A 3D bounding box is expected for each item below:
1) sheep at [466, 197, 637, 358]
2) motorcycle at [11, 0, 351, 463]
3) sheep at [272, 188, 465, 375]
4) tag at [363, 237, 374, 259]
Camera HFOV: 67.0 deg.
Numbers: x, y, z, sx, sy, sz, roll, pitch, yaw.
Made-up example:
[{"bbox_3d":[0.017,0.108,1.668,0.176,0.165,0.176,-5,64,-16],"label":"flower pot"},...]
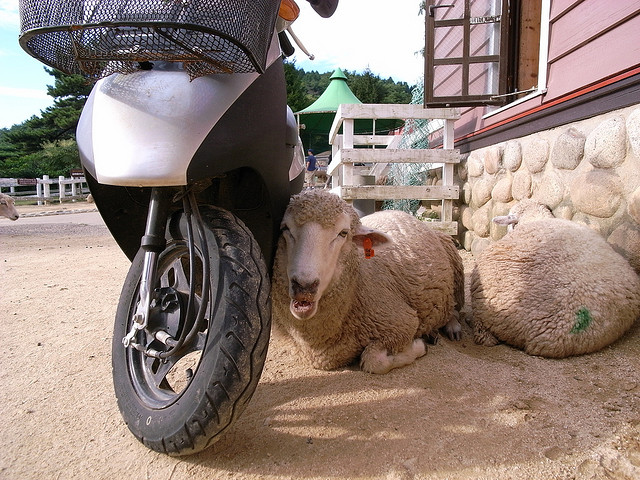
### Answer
[{"bbox_3d":[1.578,0.195,3.405,0.613,0.534,1.177,-5,27,15],"label":"sheep"},{"bbox_3d":[-0.665,-0.061,2.367,1.006,2.000,0.915,1,11,15],"label":"motorcycle"},{"bbox_3d":[0.279,0.206,3.022,1.366,1.095,0.630,-12,15,-39],"label":"sheep"},{"bbox_3d":[0.288,0.048,2.926,0.053,0.135,0.072,-3,11,-5],"label":"tag"}]
